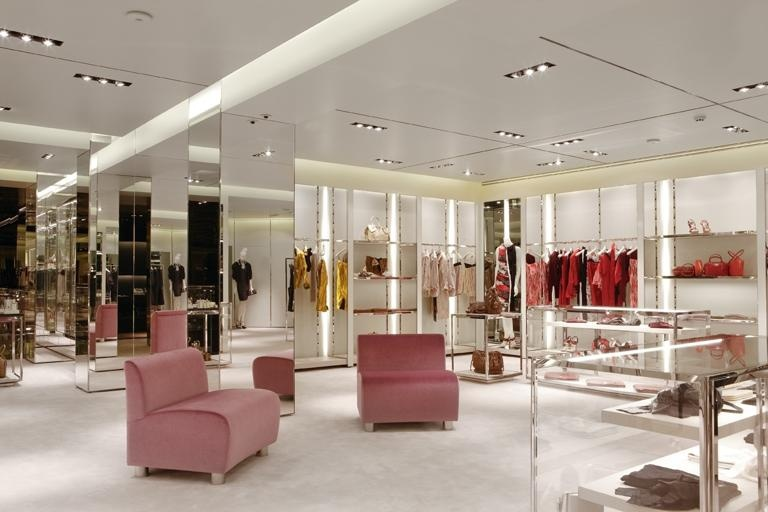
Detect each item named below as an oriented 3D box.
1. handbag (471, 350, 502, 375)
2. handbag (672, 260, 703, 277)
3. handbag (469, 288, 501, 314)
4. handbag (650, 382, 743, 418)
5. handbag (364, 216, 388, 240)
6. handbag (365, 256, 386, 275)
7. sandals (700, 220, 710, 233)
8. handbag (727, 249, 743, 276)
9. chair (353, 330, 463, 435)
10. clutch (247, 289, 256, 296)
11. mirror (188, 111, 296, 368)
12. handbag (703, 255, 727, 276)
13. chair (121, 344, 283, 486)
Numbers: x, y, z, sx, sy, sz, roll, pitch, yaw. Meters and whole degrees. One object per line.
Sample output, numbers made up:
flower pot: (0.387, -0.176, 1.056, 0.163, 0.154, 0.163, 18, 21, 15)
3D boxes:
handbag: (1.621, 1.657, 8.241, 0.473, 0.360, 0.479, 0, 1, 11)
handbag: (4.853, 0.230, 8.391, 0.346, 0.139, 0.338, 1, -4, -1)
handbag: (1.661, 0.772, 8.679, 0.510, 0.354, 0.363, -4, -7, 33)
handbag: (1.370, 0.623, 2.332, 0.282, 0.095, 0.201, 0, -5, 22)
handbag: (-0.170, -0.526, 9.963, 0.480, 0.416, 0.219, 4, -7, -39)
handbag: (-0.101, 0.178, 9.963, 0.367, 0.328, 0.363, -2, -4, 35)
sandals: (5.119, -0.491, 8.330, 0.124, 0.135, 0.360, -9, 22, 20)
handbag: (5.334, 0.108, 8.106, 0.317, 0.353, 0.384, 2, -2, 41)
chair: (0.247, 1.465, 6.331, 1.172, 0.943, 1.132, 1, -3, -12)
clutch: (-1.557, 0.422, 6.209, 0.112, 0.095, 0.059, 1, -24, -13)
mirror: (-1.652, -0.202, 6.154, 1.218, 2.865, 0.599, -1, 2, -19)
handbag: (5.223, 0.145, 8.266, 0.312, 0.346, 0.363, 1, 2, 35)
chair: (-1.657, 1.401, 5.107, 1.136, 1.087, 1.377, -1, -2, 9)
